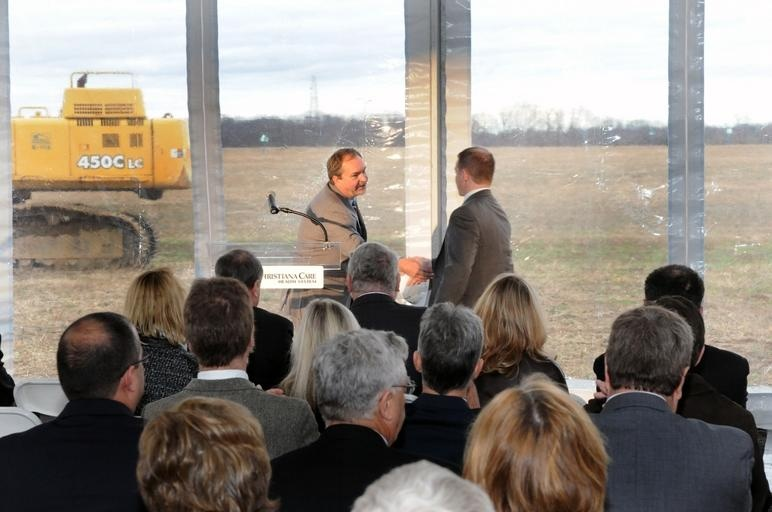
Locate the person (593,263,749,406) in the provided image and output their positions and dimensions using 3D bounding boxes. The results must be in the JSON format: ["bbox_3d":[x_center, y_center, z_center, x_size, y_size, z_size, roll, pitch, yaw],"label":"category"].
[{"bbox_3d":[2.151,0.319,10.500,0.528,0.834,0.882,-10,15,19],"label":"person"}]

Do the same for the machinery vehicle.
[{"bbox_3d":[-2.241,-0.668,11.663,2.008,1.555,0.778,-2,9,15],"label":"machinery vehicle"}]

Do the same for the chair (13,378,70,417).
[{"bbox_3d":[-2.280,0.927,9.761,0.350,0.115,0.289,-9,-15,30],"label":"chair"}]

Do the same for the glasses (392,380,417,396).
[{"bbox_3d":[0.097,0.805,9.099,0.211,0.052,0.194,0,-8,0],"label":"glasses"}]

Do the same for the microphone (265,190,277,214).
[{"bbox_3d":[-0.882,-0.396,11.466,0.087,0.175,0.231,-1,4,-4],"label":"microphone"}]
